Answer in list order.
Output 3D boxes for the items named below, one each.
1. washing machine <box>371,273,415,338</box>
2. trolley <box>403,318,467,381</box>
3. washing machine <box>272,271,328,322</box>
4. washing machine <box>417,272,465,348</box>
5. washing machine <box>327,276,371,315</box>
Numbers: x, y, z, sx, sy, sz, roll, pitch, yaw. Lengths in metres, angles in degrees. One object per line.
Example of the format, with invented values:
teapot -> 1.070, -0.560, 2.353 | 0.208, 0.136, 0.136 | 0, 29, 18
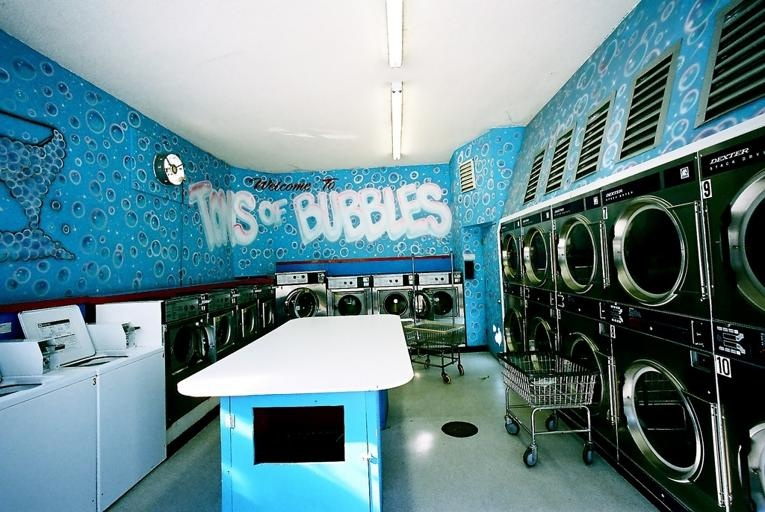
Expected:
washing machine -> 0.269, 0.715, 8.114 | 0.773, 1.035, 0.733 | -6, 18, 8
trolley -> 0.754, 1.267, 6.898 | 0.843, 0.964, 0.683 | -7, -7, 41
washing machine -> -1.478, 0.720, 8.150 | 0.941, 0.900, 0.674 | -3, 2, -24
washing machine -> 1.147, 0.932, 8.084 | 0.916, 1.401, 0.850 | -5, 0, 20
washing machine -> -0.520, 0.758, 8.089 | 0.762, 0.791, 0.559 | -3, -3, 11
